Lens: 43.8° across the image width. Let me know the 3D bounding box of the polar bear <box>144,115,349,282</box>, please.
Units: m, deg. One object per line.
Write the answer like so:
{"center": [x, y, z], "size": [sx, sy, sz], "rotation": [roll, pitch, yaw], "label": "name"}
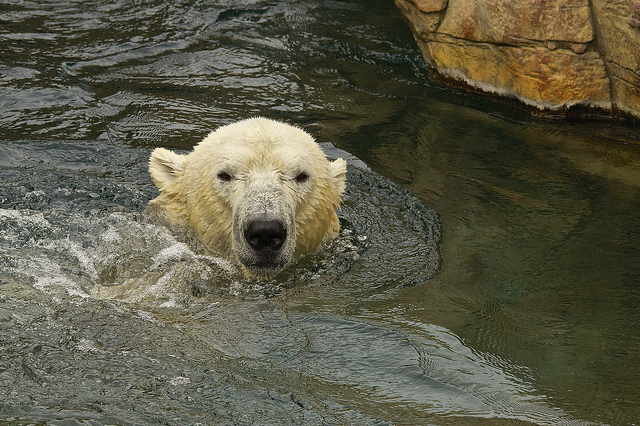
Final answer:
{"center": [-0.717, -0.076, 7.857], "size": [2.238, 1.385, 2.437], "rotation": [-6, 25, -10], "label": "polar bear"}
